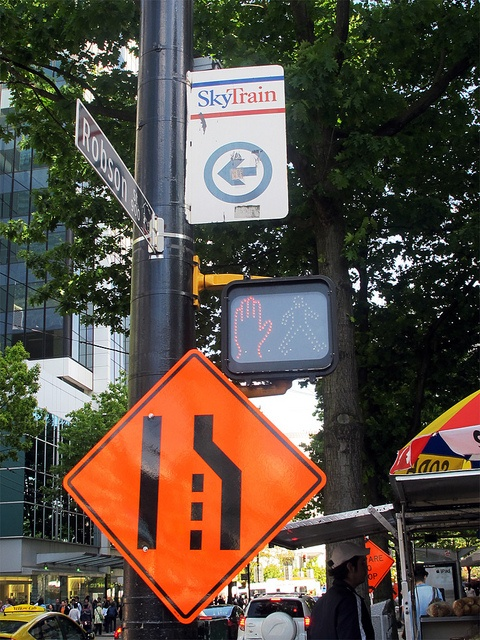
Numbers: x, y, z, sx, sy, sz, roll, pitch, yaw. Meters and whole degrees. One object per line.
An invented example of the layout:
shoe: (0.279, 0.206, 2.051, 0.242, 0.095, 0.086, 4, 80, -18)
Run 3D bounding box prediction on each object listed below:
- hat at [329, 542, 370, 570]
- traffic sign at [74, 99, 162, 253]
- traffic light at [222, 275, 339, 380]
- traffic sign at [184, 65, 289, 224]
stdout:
hat: (0.744, 1.608, 7.383, 0.238, 0.135, 0.177, -19, -5, -17)
traffic sign: (-0.680, -0.780, 5.785, 0.258, 0.759, 0.790, -5, -9, 20)
traffic light: (0.214, 0.056, 5.644, 0.525, 0.483, 0.161, -1, -17, 4)
traffic sign: (-0.022, -1.068, 6.508, 0.682, 1.093, 0.371, 0, -8, -9)
